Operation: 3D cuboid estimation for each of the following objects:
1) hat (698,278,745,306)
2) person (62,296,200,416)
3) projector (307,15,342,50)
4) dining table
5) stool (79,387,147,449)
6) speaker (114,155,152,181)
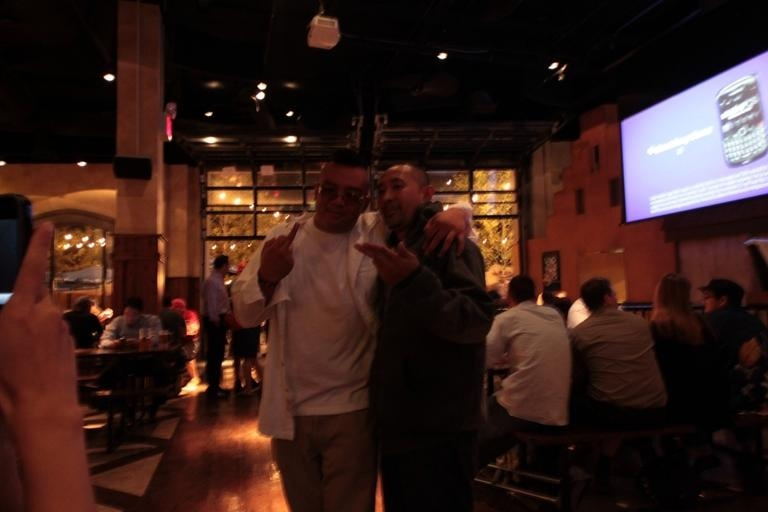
[{"bbox_3d":[3.425,0.353,5.820,0.279,0.172,0.354,25,2,-28],"label":"hat"},{"bbox_3d":[-3.055,1.239,7.012,1.273,0.615,1.914,0,7,-12],"label":"person"},{"bbox_3d":[-0.753,-3.016,7.553,0.406,0.318,0.470,-8,40,-6],"label":"projector"},{"bbox_3d":[-2.916,1.561,6.454,1.303,0.838,1.778,1,-7,-7],"label":"dining table"},{"bbox_3d":[-3.142,1.801,6.668,0.640,0.426,1.353,11,-21,-20],"label":"stool"},{"bbox_3d":[-3.836,-1.338,8.728,0.631,0.371,0.325,2,3,-11],"label":"speaker"}]
